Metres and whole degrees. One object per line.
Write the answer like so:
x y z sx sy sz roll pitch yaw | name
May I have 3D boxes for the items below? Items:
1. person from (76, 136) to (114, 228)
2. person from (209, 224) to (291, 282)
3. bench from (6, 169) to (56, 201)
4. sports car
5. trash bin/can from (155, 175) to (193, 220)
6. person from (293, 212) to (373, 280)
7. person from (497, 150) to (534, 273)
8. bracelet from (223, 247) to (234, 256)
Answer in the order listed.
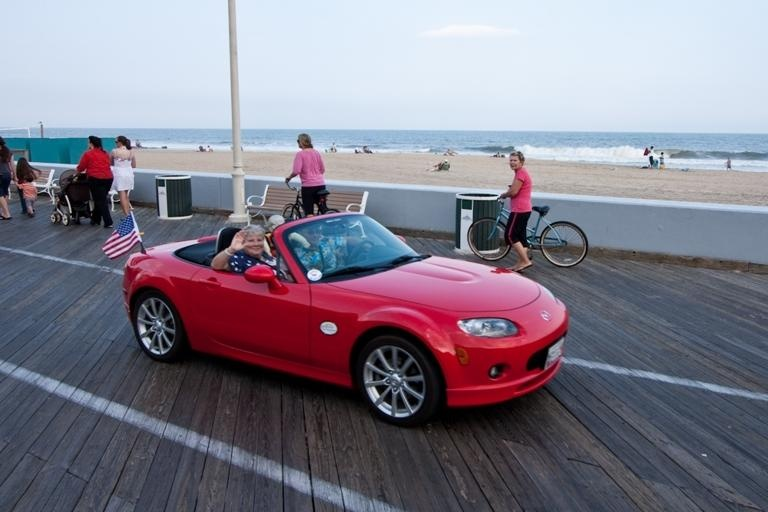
-9.068 -2.303 12.728 1.120 2.759 0.622 12 20 37 | person
-1.558 -0.026 4.641 0.831 0.380 0.609 10 27 18 | person
-16.111 -3.352 18.273 1.978 1.180 0.798 3 13 36 | bench
-0.807 0.420 5.410 5.621 1.698 2.830 6 12 29 | sports car
-7.645 -2.078 14.904 1.557 1.601 1.551 -4 7 -33 | trash bin/can
-0.577 -0.079 4.466 0.346 0.636 1.055 7 -7 -10 | person
3.071 -0.956 9.011 1.069 2.524 0.826 4 -4 22 | person
-1.761 -0.039 4.536 0.091 0.091 0.025 -37 -16 -15 | bracelet
